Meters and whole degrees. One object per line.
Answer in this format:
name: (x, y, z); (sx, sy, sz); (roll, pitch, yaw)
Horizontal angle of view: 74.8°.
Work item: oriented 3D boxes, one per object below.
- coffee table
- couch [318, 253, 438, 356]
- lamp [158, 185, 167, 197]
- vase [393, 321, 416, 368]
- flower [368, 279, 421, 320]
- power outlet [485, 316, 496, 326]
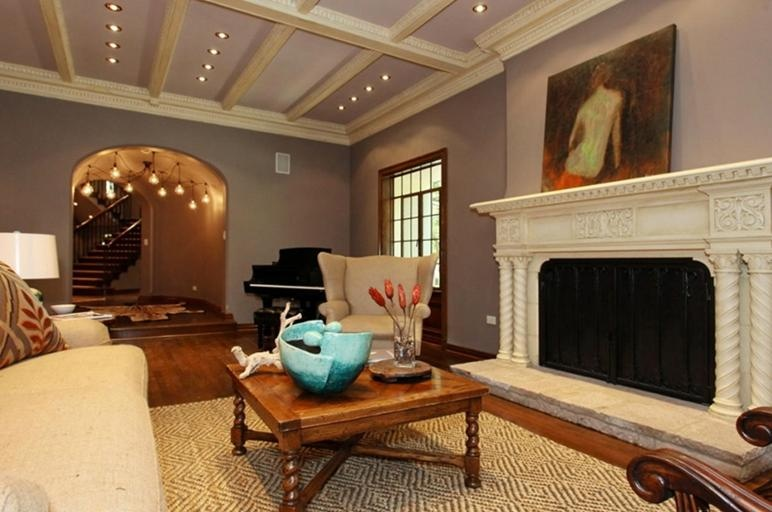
coffee table: (-0.213, 1.234, 3.611); (1.783, 0.802, 0.896); (-2, 0, -13)
couch: (-0.087, 0.366, 5.714); (1.372, 1.374, 1.171); (1, -12, 1)
lamp: (-4.774, -1.409, 10.796); (0.203, 0.213, 0.430); (-18, 23, -17)
vase: (0.174, 0.672, 3.850); (0.202, 0.351, 0.211); (-2, -7, -6)
flower: (0.088, 0.402, 4.799); (0.494, 0.469, 0.472); (0, 5, 32)
power outlet: (1.313, 0.811, 6.329); (0.017, 0.115, 0.127); (5, -1, -40)
